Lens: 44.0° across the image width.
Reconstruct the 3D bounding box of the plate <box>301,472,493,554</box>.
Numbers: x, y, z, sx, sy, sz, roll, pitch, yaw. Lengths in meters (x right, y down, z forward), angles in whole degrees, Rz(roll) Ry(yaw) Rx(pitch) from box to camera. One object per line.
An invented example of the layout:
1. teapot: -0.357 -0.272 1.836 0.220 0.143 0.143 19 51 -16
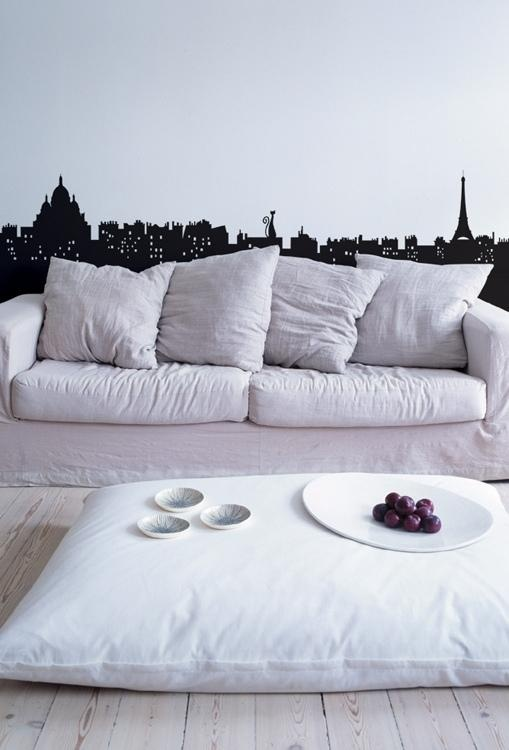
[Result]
1. plate: 0.310 0.288 1.636 0.539 0.096 0.578 1 12 0
